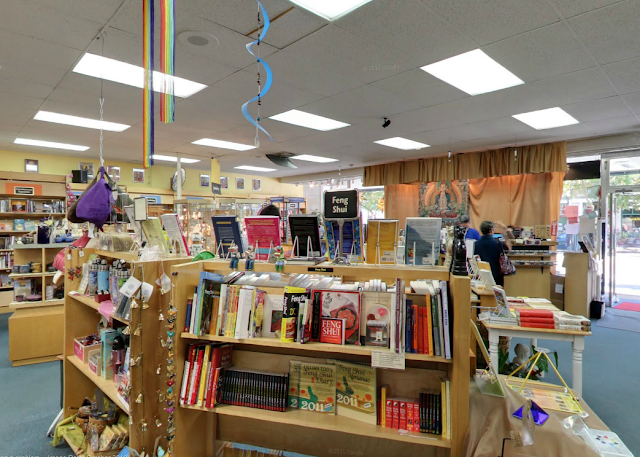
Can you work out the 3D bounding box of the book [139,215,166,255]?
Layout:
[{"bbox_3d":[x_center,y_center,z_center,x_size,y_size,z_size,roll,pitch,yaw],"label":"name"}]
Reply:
[{"bbox_3d":[-1.710,0.088,4.528,0.247,0.344,0.039,-3,18,-6],"label":"book"}]

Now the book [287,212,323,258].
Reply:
[{"bbox_3d":[-0.167,0.008,4.225,0.307,0.306,0.239,-4,23,-6],"label":"book"}]

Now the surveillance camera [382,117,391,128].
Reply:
[{"bbox_3d":[1.169,-1.839,7.755,0.136,0.144,0.045,4,-8,40],"label":"surveillance camera"}]

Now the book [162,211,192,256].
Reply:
[{"bbox_3d":[-1.509,0.065,4.555,0.306,0.413,0.250,0,1,0],"label":"book"}]

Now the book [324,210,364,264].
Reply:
[{"bbox_3d":[0.219,0.109,4.122,0.331,0.478,0.049,0,24,9],"label":"book"}]

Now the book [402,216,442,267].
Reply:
[{"bbox_3d":[0.906,0.111,3.908,0.309,0.444,0.043,1,17,11],"label":"book"}]

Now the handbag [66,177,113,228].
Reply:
[{"bbox_3d":[-2.470,-0.286,4.772,0.414,0.532,0.365,-1,2,-25],"label":"handbag"}]

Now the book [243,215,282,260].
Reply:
[{"bbox_3d":[-0.539,0.067,4.267,0.362,0.416,0.092,1,7,18],"label":"book"}]

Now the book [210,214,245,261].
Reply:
[{"bbox_3d":[-0.875,0.068,4.460,0.302,0.418,0.414,0,17,11],"label":"book"}]
